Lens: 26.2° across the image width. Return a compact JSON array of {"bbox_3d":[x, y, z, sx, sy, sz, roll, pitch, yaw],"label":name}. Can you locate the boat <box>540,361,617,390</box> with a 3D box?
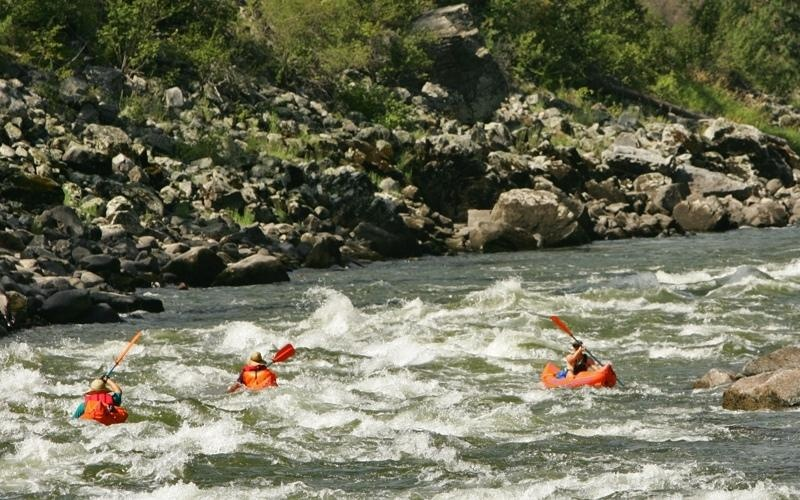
[{"bbox_3d":[6.386,4.540,60.918,2.558,0.871,0.566,-1,7,8],"label":"boat"}]

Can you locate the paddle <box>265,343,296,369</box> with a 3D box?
[{"bbox_3d":[-4.263,3.904,61.698,1.299,0.393,0.179,-39,10,0],"label":"paddle"}]

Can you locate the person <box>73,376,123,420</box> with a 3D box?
[{"bbox_3d":[-10.263,5.437,59.499,1.373,0.725,1.660,-1,42,-6],"label":"person"}]
